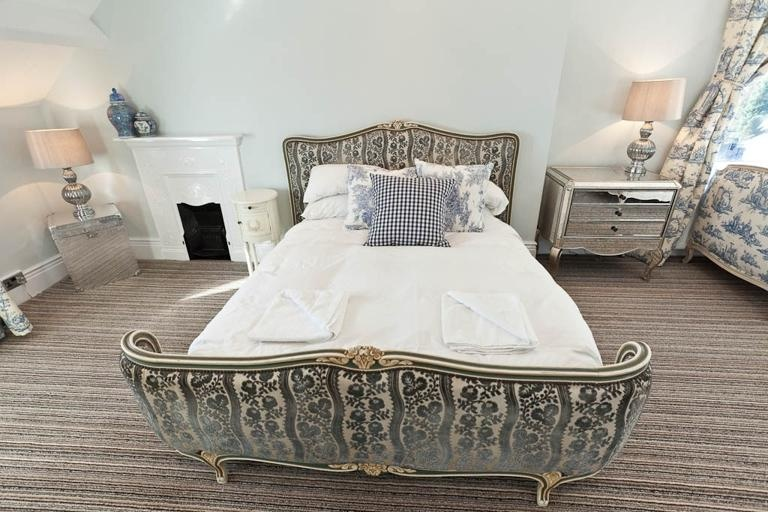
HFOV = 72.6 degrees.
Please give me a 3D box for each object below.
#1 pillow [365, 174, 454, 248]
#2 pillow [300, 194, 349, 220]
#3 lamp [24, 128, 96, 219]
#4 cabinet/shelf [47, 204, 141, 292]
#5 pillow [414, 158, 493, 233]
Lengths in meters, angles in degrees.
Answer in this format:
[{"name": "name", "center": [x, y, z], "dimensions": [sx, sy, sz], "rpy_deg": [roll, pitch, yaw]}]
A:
[{"name": "pillow", "center": [0.239, -0.352, 4.615], "dimensions": [0.732, 0.587, 0.211], "rpy_deg": [2, -10, -1]}, {"name": "pillow", "center": [-0.533, -0.446, 4.836], "dimensions": [0.282, 0.078, 0.261], "rpy_deg": [-1, 38, 2]}, {"name": "lamp", "center": [-2.965, -0.761, 4.904], "dimensions": [0.468, 0.840, 0.294], "rpy_deg": [-15, 29, -29]}, {"name": "cabinet/shelf", "center": [-2.889, -0.059, 5.135], "dimensions": [0.600, 0.629, 0.496], "rpy_deg": [-23, 42, -21]}, {"name": "pillow", "center": [0.603, -0.504, 4.560], "dimensions": [0.759, 0.627, 0.268], "rpy_deg": [2, 1, 5]}]
